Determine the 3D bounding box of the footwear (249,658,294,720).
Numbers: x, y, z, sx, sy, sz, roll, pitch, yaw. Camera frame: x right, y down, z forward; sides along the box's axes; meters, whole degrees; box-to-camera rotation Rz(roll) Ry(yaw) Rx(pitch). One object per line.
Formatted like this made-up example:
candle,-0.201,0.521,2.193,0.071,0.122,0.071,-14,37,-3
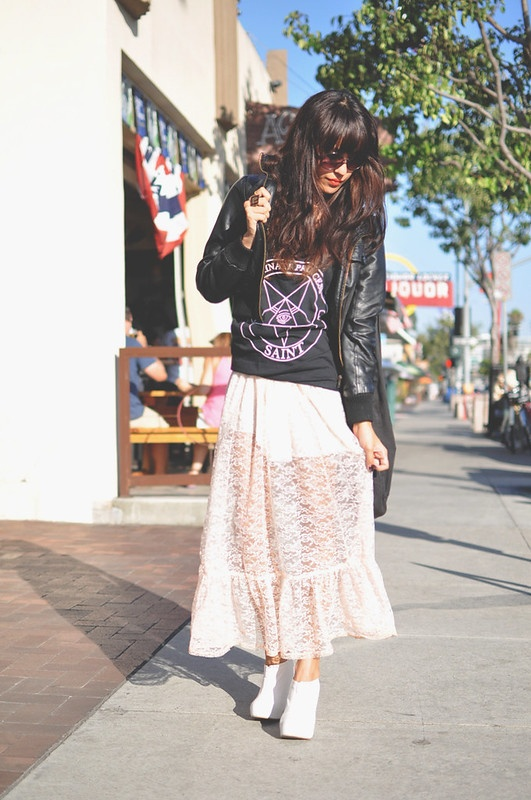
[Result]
footwear,0.007,0.925,2.895,0.078,0.155,0.230,-1,-5,34

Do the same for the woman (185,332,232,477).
woman,-0.490,0.006,7.758,0.407,1.266,0.386,1,25,-20

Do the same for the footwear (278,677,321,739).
footwear,0.118,0.922,2.746,0.081,0.093,0.219,1,43,17

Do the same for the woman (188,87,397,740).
woman,0.093,-0.052,2.719,0.634,1.692,0.294,0,1,-6

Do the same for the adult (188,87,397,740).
adult,0.093,-0.052,2.719,0.634,1.692,0.294,0,1,-6

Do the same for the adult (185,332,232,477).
adult,-0.469,0.058,7.750,0.394,1.310,0.396,7,-4,23

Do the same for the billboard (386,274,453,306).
billboard,4.951,-3.506,28.633,1.692,1.373,3.310,0,1,16
